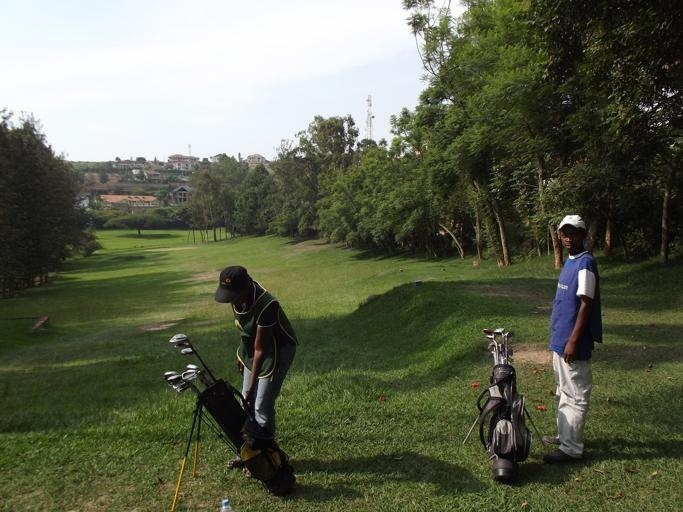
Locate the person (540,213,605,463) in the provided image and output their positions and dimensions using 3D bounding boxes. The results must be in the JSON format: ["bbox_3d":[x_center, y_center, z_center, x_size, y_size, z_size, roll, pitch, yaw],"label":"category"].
[{"bbox_3d":[4.040,1.432,9.524,0.810,4.133,1.278,2,14,24],"label":"person"}]

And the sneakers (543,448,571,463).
[{"bbox_3d":[3.730,3.463,9.627,0.498,0.225,0.192,2,7,8],"label":"sneakers"}]
